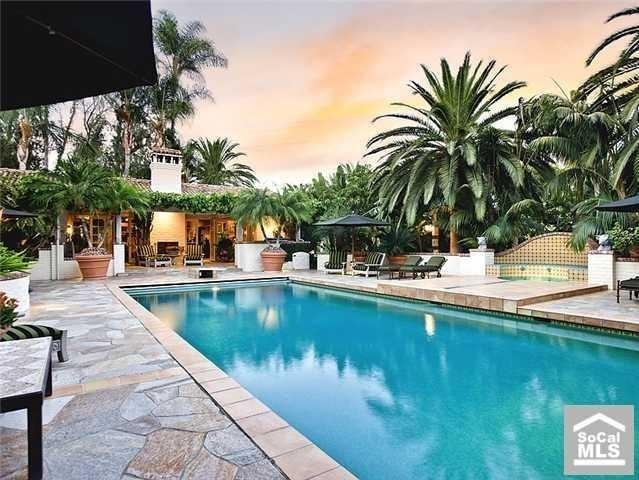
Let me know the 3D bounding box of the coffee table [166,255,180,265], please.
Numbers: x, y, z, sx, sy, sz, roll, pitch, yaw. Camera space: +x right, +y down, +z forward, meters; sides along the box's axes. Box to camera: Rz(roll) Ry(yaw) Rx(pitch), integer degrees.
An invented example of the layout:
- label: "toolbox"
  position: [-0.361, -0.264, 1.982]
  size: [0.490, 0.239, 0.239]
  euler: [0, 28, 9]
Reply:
- label: "coffee table"
  position: [-8.636, 1.242, 21.449]
  size: [0.502, 0.444, 0.507]
  euler: [-4, -4, 42]

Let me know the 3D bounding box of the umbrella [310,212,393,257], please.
- label: "umbrella"
  position: [1.332, -0.258, 14.731]
  size: [2.513, 1.662, 2.422]
  euler: [-1, -5, -5]
